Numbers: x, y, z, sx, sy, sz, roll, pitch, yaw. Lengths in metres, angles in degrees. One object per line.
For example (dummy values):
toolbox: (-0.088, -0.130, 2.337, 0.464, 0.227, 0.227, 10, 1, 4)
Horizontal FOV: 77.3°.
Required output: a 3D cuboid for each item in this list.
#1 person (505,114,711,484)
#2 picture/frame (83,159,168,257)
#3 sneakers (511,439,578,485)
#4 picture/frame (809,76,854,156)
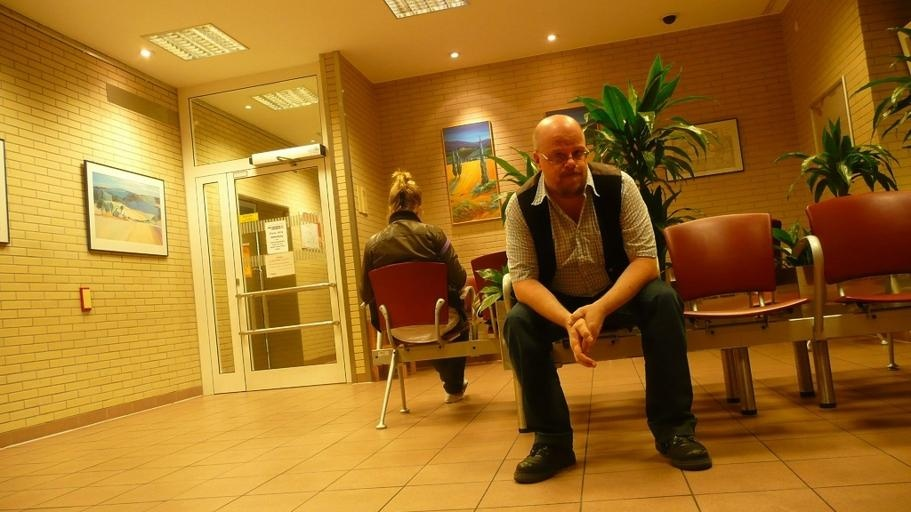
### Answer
person: (0.943, 0.239, 4.093, 1.300, 2.527, 0.712, -8, 7, 7)
picture/frame: (-4.489, -0.620, 7.663, 0.096, 1.209, 1.459, -10, -10, 26)
sneakers: (0.632, 1.458, 4.021, 0.527, 0.192, 0.185, 1, -14, -43)
picture/frame: (5.212, -1.950, 7.924, 0.271, 0.937, 0.850, -8, 7, 12)
